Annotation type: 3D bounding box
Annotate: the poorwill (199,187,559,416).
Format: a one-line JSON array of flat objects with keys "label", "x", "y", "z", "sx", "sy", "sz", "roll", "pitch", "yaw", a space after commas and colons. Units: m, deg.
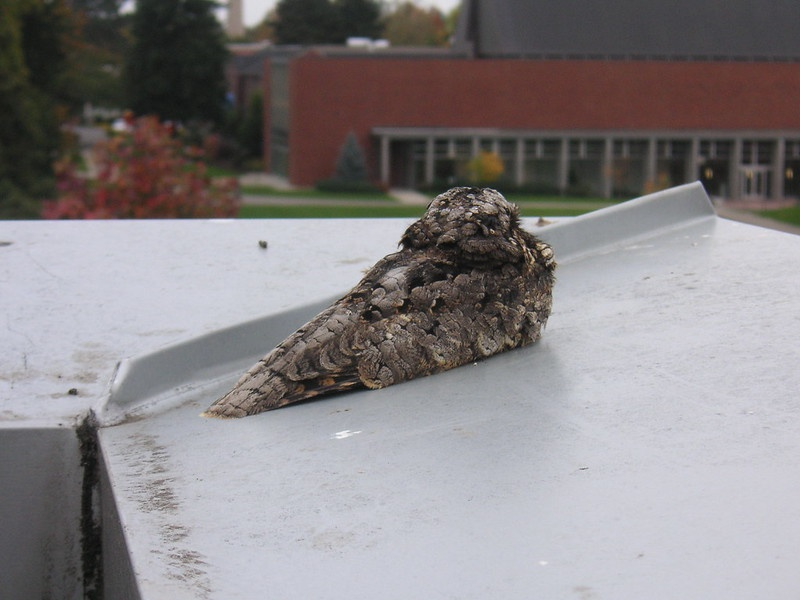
[{"label": "poorwill", "x": 0.047, "y": 0.022, "z": 4.880, "sx": 1.271, "sy": 0.445, "sz": 0.562, "roll": -15, "pitch": 26, "yaw": -14}]
